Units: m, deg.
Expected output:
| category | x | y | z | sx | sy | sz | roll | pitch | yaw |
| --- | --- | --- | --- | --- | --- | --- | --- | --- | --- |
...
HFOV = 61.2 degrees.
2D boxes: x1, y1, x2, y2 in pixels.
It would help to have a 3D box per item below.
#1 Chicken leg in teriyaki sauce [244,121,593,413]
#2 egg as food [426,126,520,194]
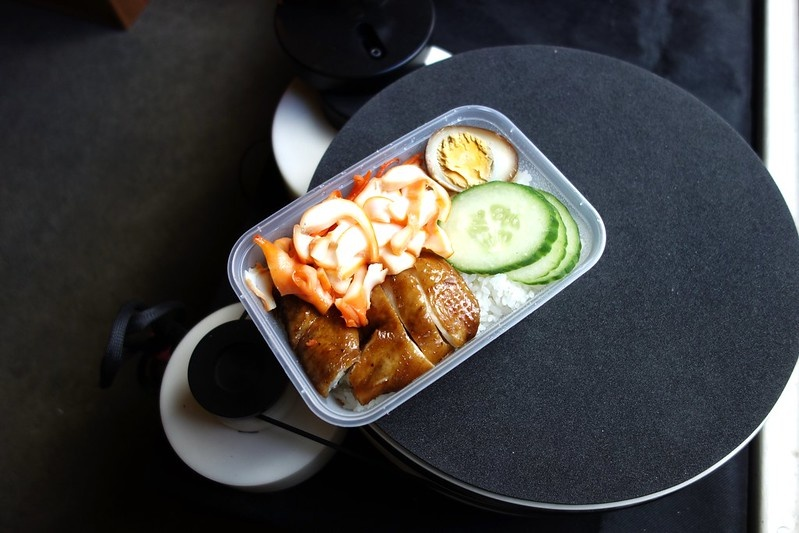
| category | x | y | z | sx | sy | sz | roll | pitch | yaw |
| --- | --- | --- | --- | --- | --- | --- | --- | --- | --- |
| Chicken leg in teriyaki sauce | 0.044 | -0.035 | 1.710 | 0.909 | 0.126 | 0.572 | -31 | 84 | -2 |
| egg as food | 0.192 | -0.284 | 1.755 | 0.194 | 0.061 | 0.179 | 7 | 78 | -3 |
